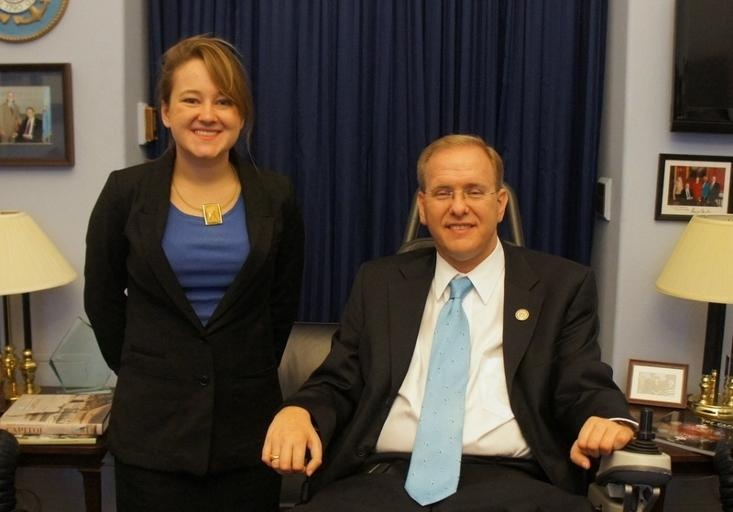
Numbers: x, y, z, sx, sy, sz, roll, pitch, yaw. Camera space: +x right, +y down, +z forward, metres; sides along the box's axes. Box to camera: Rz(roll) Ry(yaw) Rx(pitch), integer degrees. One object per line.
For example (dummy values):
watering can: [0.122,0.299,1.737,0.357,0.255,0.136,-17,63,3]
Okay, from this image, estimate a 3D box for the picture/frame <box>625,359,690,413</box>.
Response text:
picture/frame: [1.264,0.573,2.725,0.194,0.178,0.015,0,-10,13]

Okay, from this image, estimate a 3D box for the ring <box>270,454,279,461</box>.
ring: [-0.269,0.599,1.859,0.014,0.014,0.003,-12,-22,-5]

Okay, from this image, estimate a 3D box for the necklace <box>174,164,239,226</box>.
necklace: [-0.554,-0.218,2.237,0.188,0.255,0.010,-5,-25,-14]
